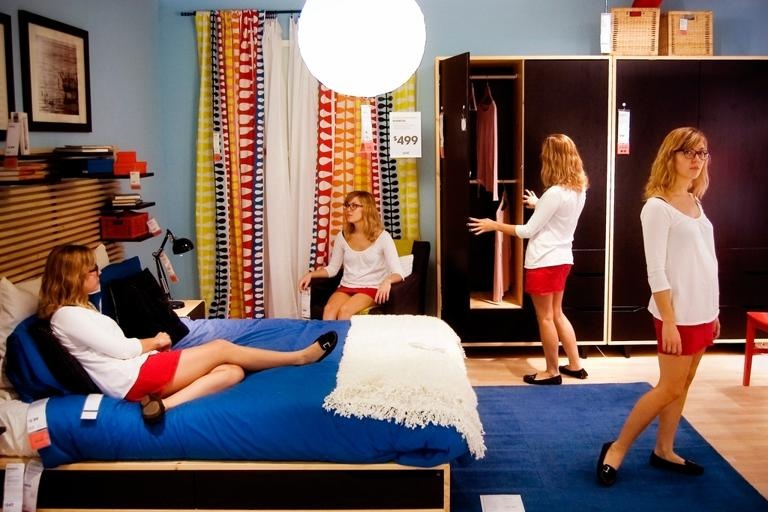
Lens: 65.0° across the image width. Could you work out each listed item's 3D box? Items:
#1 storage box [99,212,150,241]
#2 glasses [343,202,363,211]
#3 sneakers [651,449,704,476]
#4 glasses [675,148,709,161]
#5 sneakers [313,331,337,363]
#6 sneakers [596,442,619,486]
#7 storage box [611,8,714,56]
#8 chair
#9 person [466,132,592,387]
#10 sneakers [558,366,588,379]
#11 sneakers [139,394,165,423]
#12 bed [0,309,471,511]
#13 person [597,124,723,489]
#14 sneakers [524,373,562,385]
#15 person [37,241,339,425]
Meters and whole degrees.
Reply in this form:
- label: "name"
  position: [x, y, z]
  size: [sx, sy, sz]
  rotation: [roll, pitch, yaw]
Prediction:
- label: "storage box"
  position: [-2.085, -0.233, 4.850]
  size: [0.230, 0.155, 0.324]
  rotation: [0, 4, 1]
- label: "glasses"
  position: [-0.270, -0.445, 5.339]
  size: [0.158, 0.097, 0.056]
  rotation: [-1, 12, 4]
- label: "sneakers"
  position: [1.908, 1.353, 3.969]
  size: [0.340, 0.122, 0.115]
  rotation: [-1, -1, 18]
- label: "glasses"
  position: [1.865, -0.619, 3.690]
  size: [0.107, 0.032, 0.106]
  rotation: [4, 6, -10]
- label: "sneakers"
  position: [-0.379, 0.598, 4.042]
  size: [0.103, 0.224, 0.062]
  rotation: [31, 15, 29]
- label: "sneakers"
  position: [1.427, 1.345, 3.857]
  size: [0.105, 0.292, 0.092]
  rotation: [4, -5, -2]
- label: "storage box"
  position: [2.467, -1.975, 5.354]
  size: [0.925, 0.440, 0.388]
  rotation: [0, 12, 10]
- label: "chair"
  position: [-0.090, 0.186, 5.511]
  size: [0.692, 0.987, 0.888]
  rotation: [2, 2, 17]
- label: "person"
  position: [1.333, 0.047, 4.970]
  size: [0.681, 2.029, 0.367]
  rotation: [1, 12, 18]
- label: "sneakers"
  position: [1.620, 0.998, 5.209]
  size: [0.093, 0.080, 0.270]
  rotation: [-3, 9, -37]
- label: "sneakers"
  position: [-1.335, 0.890, 3.486]
  size: [0.128, 0.142, 0.126]
  rotation: [-7, 12, -21]
- label: "bed"
  position: [-0.770, 0.983, 3.618]
  size: [2.127, 0.577, 1.299]
  rotation: [0, 17, -4]
- label: "person"
  position: [1.751, 0.322, 3.772]
  size: [0.548, 2.183, 0.826]
  rotation: [7, 15, 38]
- label: "sneakers"
  position: [1.321, 1.039, 5.024]
  size: [0.305, 0.091, 0.111]
  rotation: [3, -1, 6]
- label: "person"
  position: [-1.240, 0.441, 4.026]
  size: [1.813, 1.012, 0.792]
  rotation: [1, -1, -22]
